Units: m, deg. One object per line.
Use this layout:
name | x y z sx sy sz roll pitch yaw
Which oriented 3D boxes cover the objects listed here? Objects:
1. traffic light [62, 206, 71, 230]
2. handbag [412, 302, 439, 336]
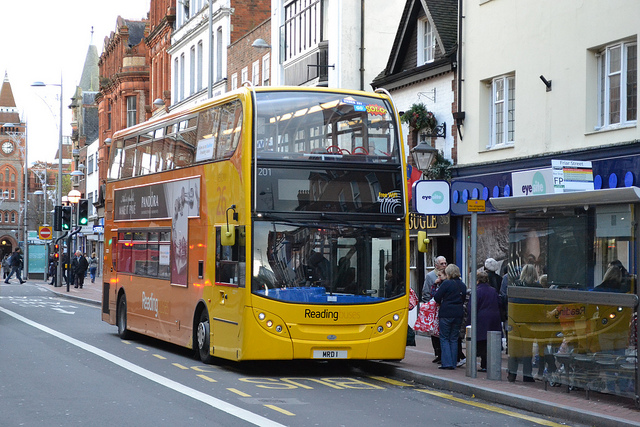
traffic light | -13.700 0.287 43.834 0.469 1.039 0.548 6 1 -21
handbag | 2.376 2.270 18.094 0.636 0.907 0.297 9 19 11
